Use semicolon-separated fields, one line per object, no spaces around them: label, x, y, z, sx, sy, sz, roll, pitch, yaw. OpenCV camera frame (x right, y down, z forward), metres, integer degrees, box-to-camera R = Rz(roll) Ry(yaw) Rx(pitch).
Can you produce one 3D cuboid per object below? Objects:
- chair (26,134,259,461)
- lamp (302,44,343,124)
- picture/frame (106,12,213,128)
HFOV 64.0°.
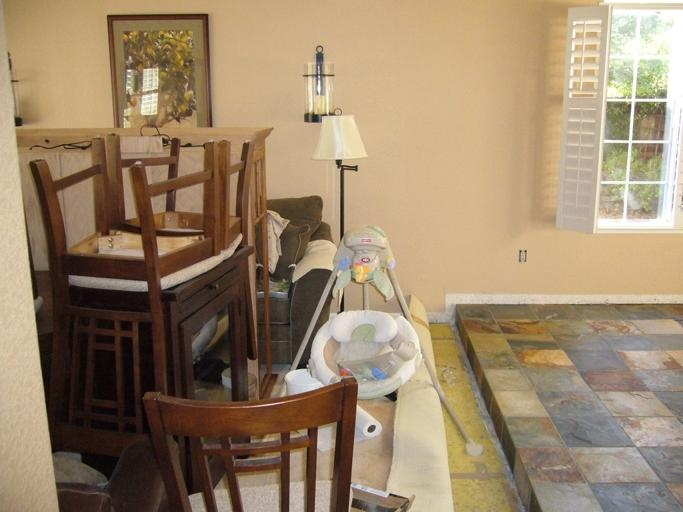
chair;-0.724;0.146;2.196;0.532;1.245;0.862;2;16;15
lamp;-0.167;-1.294;4.187;0.287;0.500;0.246;-7;16;-20
picture/frame;-1.497;-1.537;4.524;0.856;0.902;0.111;-2;15;1
